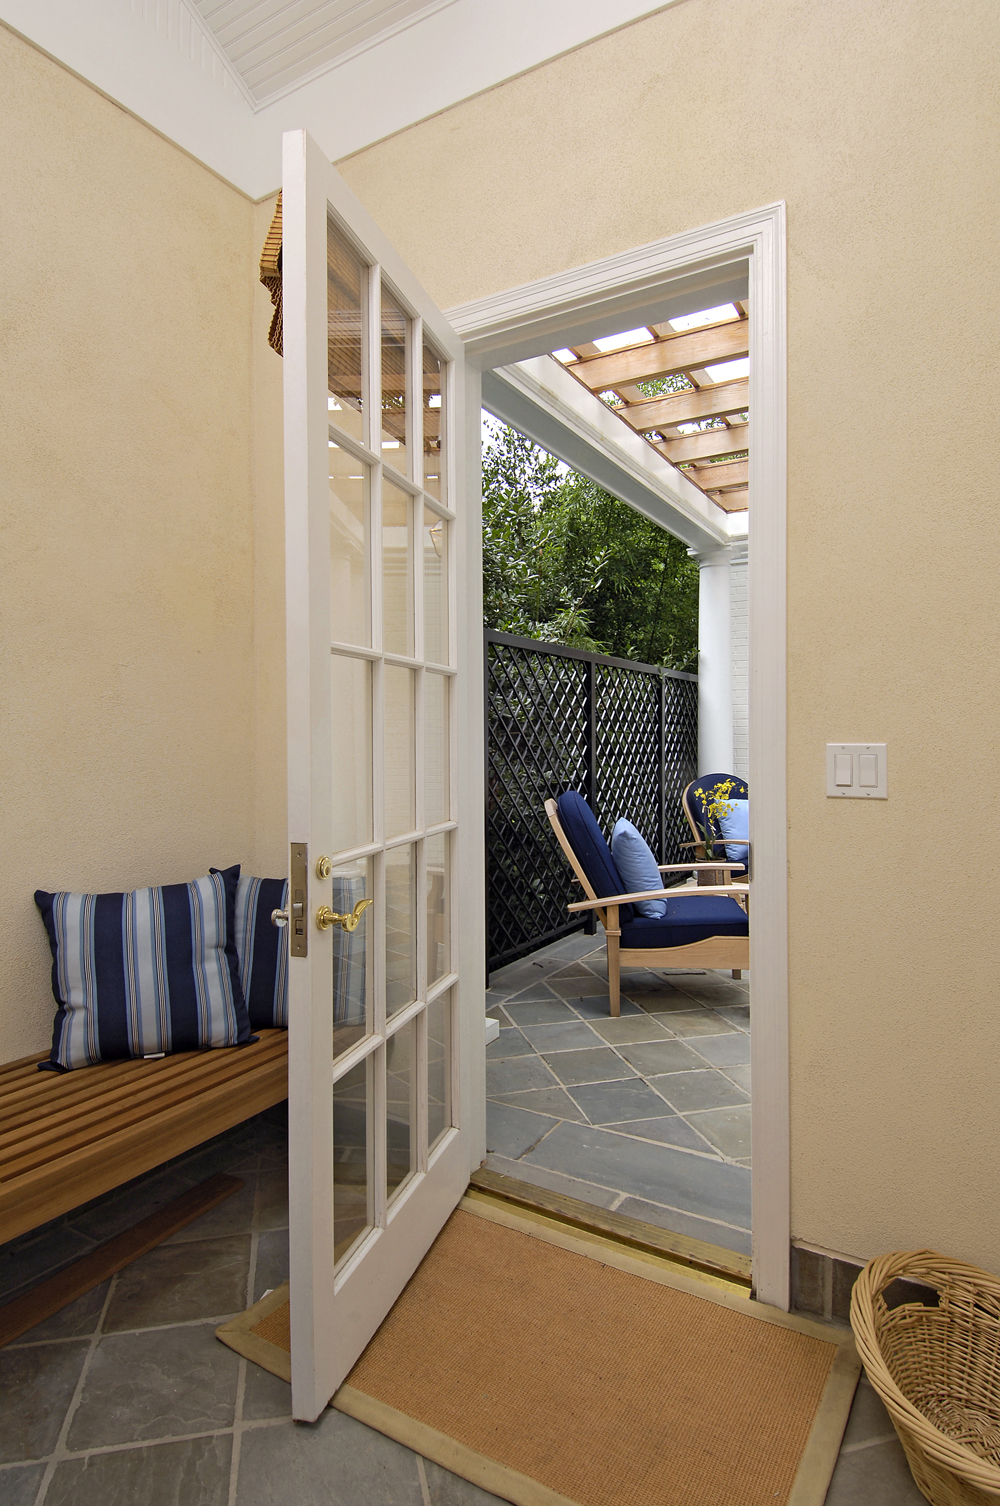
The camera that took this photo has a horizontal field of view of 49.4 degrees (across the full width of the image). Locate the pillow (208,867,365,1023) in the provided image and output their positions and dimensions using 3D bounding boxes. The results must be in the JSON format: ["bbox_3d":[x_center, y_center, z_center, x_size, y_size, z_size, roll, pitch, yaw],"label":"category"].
[{"bbox_3d":[-0.439,0.404,2.194,0.364,0.406,0.136,-8,-18,16],"label":"pillow"}]

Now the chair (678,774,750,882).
[{"bbox_3d":[1.169,0.400,5.788,0.480,0.680,0.616,-2,-5,12],"label":"chair"}]

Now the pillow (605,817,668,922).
[{"bbox_3d":[0.522,0.388,4.123,0.142,0.244,0.301,-6,5,0],"label":"pillow"}]

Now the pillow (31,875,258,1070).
[{"bbox_3d":[-0.833,0.508,2.538,0.418,0.429,0.225,-2,-5,-24],"label":"pillow"}]

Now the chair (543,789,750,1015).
[{"bbox_3d":[0.601,0.551,4.146,0.779,0.795,0.667,-1,0,5],"label":"chair"}]
